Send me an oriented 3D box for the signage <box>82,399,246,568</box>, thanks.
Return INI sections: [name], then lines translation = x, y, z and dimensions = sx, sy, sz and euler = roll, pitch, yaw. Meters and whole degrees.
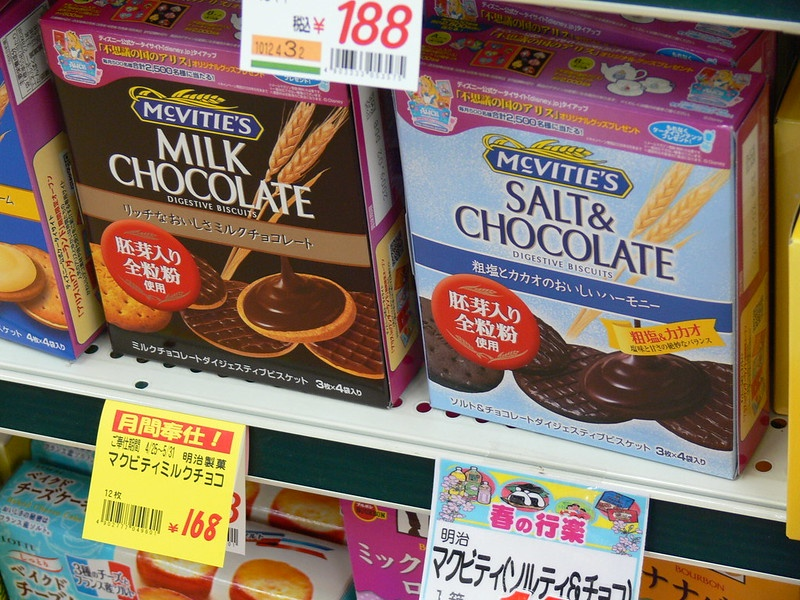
[signage]
translation = -0.426, 0.328, 1.311
dimensions = 0.431, 0.287, 0.087
euler = 7, 10, 10
